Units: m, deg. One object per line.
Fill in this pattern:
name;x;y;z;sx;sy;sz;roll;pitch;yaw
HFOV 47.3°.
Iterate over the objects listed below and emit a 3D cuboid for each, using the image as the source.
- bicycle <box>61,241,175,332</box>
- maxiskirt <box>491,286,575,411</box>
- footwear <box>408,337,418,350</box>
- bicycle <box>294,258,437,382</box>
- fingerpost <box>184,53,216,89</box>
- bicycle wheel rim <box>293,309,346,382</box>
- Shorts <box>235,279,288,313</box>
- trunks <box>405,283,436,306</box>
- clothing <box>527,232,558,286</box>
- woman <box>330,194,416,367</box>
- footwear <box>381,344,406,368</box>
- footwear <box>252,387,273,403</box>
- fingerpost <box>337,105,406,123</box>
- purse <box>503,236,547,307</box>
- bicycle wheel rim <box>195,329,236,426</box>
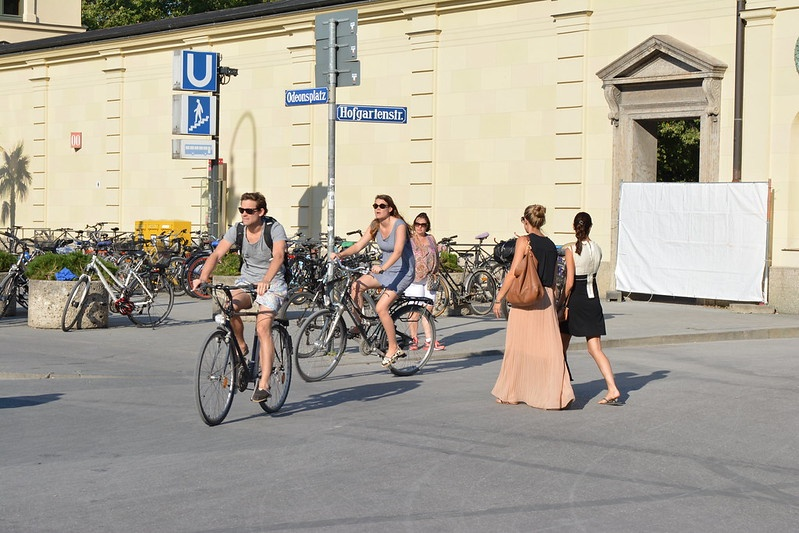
bicycle;-4.991;0.330;15.903;0.879;1.389;2.213;15;12;40
maxiskirt;1.692;0.880;10.948;0.997;1.690;0.799;0;29;0
footwear;0.193;1.065;12.589;0.116;0.185;0.170;9;12;34
bicycle;-0.415;0.728;12.275;2.387;1.542;1.028;2;10;-41
fingerpost;-4.805;-4.689;21.834;0.856;1.032;0.112;1;1;-8
bicycle wheel rim;-1.054;1.039;11.890;0.229;0.840;0.871;10;-22;40
Shorts;-1.484;0.395;10.337;0.419;0.428;0.187;18;23;15
trunks;0.352;0.406;13.436;0.479;0.304;0.238;5;-5;-25
clothing;1.792;-0.096;11.088;0.459;0.641;0.351;-5;-6;28
woman;-0.341;0.149;12.605;1.301;2.196;1.223;-6;14;-12
footwear;-0.089;1.224;12.275;0.402;0.161;0.157;-37;15;-33
footwear;-1.529;1.429;10.158;0.186;0.099;0.298;-1;4;-3
fingerpost;-0.433;-2.526;15.120;1.035;0.252;2.212;2;8;2
purse;1.521;0.090;10.903;0.374;0.763;0.398;-1;11;25
bicycle wheel rim;-2.006;1.201;9.811;0.224;1.043;0.634;5;9;22
